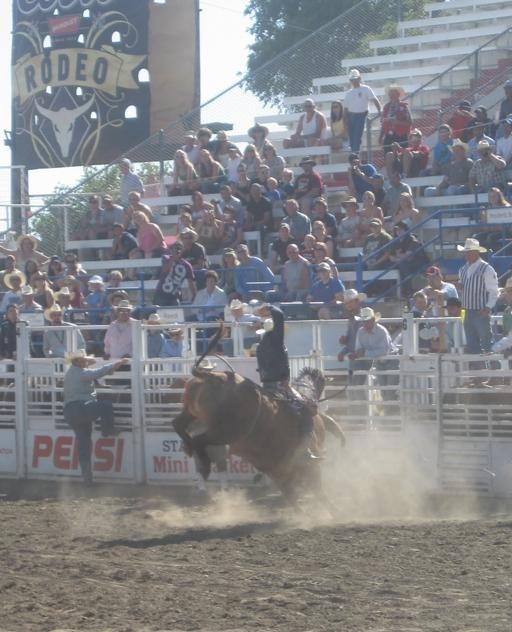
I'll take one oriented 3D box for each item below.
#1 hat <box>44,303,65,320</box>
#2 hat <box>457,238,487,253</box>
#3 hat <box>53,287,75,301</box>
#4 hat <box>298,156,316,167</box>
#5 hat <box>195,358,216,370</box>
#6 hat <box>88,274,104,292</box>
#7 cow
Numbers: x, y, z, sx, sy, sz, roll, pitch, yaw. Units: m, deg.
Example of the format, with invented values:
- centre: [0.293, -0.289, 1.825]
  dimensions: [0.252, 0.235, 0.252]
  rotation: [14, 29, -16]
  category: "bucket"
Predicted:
- centre: [-2.796, -0.057, 23.136]
  dimensions: [0.234, 0.248, 0.068]
  rotation: [0, -2, 38]
  category: "hat"
- centre: [2.819, -0.915, 21.504]
  dimensions: [0.308, 0.151, 0.353]
  rotation: [1, 0, -16]
  category: "hat"
- centre: [-2.896, -0.352, 24.751]
  dimensions: [0.193, 0.091, 0.233]
  rotation: [11, -36, -1]
  category: "hat"
- centre: [0.853, -2.603, 27.231]
  dimensions: [0.289, 0.134, 0.330]
  rotation: [-3, -17, 2]
  category: "hat"
- centre: [-0.621, 0.590, 20.208]
  dimensions: [0.180, 0.117, 0.185]
  rotation: [1, -8, -8]
  category: "hat"
- centre: [-2.476, -0.514, 25.298]
  dimensions: [0.188, 0.148, 0.267]
  rotation: [9, -31, 0]
  category: "hat"
- centre: [0.191, 1.258, 19.656]
  dimensions: [0.818, 1.975, 2.809]
  rotation: [-8, -18, 43]
  category: "cow"
